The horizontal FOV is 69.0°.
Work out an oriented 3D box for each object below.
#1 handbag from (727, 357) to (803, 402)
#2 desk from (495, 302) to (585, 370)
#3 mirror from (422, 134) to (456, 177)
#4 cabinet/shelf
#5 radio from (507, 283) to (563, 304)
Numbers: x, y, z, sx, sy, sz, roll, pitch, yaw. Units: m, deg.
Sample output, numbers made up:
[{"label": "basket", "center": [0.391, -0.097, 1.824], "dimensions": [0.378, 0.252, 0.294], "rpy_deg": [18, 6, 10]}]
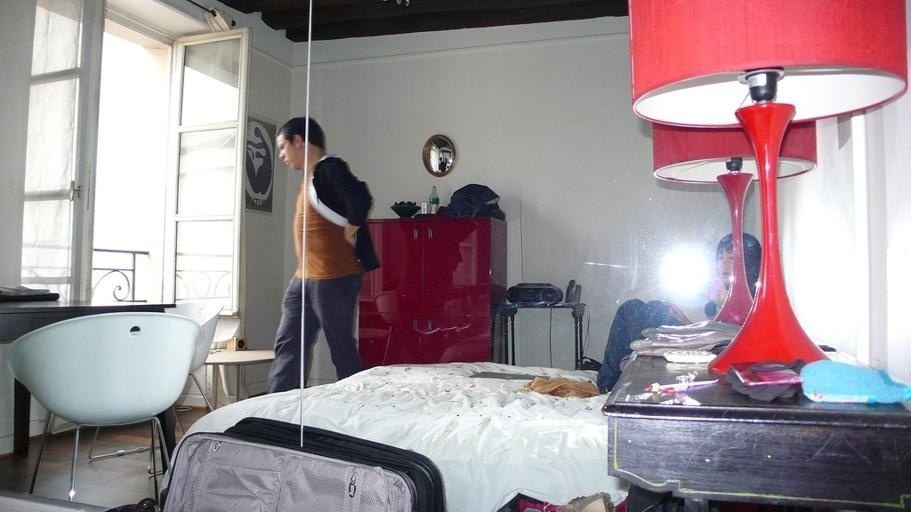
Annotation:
[{"label": "handbag", "center": [1.113, 0.443, 2.368], "dimensions": [0.167, 0.046, 0.161], "rpy_deg": [-5, 12, 10]}, {"label": "desk", "center": [0.836, 0.664, 5.756], "dimensions": [0.686, 0.582, 0.264], "rpy_deg": [3, 12, 44]}, {"label": "mirror", "center": [-0.133, -0.906, 6.019], "dimensions": [0.420, 0.443, 0.077], "rpy_deg": [2, -1, 17]}, {"label": "cabinet/shelf", "center": [-0.189, 0.334, 5.428], "dimensions": [1.338, 1.713, 0.632], "rpy_deg": [-1, -5, 11]}, {"label": "radio", "center": [0.666, 0.317, 5.539], "dimensions": [0.455, 0.180, 0.214], "rpy_deg": [-1, -1, 6]}]
